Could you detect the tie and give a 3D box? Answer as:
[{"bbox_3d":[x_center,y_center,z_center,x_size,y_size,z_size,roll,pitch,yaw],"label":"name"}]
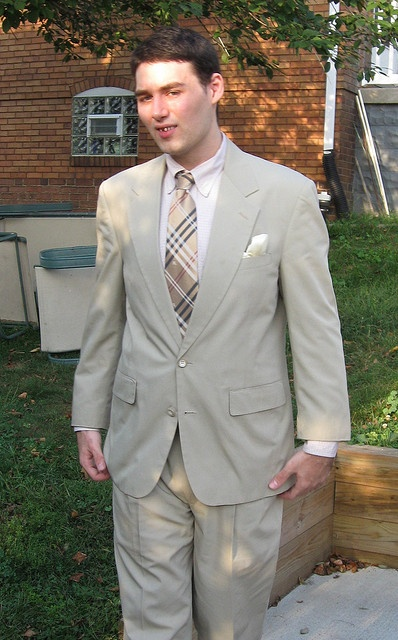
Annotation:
[{"bbox_3d":[-0.050,-0.182,1.382,0.088,0.404,0.212,-2,13,-4],"label":"tie"}]
